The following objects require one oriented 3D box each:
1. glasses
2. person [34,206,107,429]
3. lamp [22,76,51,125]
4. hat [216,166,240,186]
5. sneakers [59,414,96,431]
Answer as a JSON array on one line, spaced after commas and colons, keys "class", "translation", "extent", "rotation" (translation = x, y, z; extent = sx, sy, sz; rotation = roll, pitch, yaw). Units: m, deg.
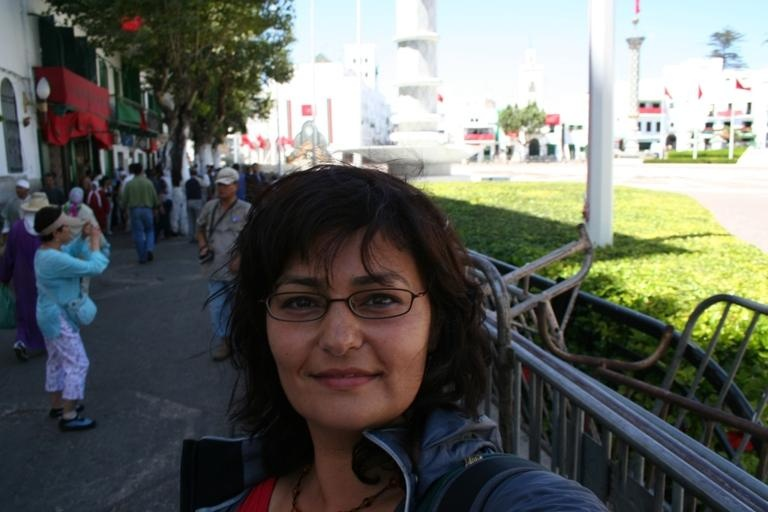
[{"class": "glasses", "translation": [-0.133, 0.154, 1.861], "extent": [0.524, 0.115, 0.085], "rotation": [0, 11, 8]}, {"class": "person", "translation": [-3.170, 0.509, 5.970], "extent": [0.724, 2.013, 1.552], "rotation": [-7, 12, -26]}, {"class": "lamp", "translation": [-10.149, -4.506, 17.098], "extent": [0.703, 1.561, 0.498], "rotation": [-2, 5, -14]}, {"class": "hat", "translation": [-1.956, -1.010, 7.339], "extent": [0.183, 0.160, 0.281], "rotation": [0, 3, 4]}, {"class": "sneakers", "translation": [-2.885, 1.581, 5.495], "extent": [0.282, 0.137, 0.143], "rotation": [1, 4, -17]}]
